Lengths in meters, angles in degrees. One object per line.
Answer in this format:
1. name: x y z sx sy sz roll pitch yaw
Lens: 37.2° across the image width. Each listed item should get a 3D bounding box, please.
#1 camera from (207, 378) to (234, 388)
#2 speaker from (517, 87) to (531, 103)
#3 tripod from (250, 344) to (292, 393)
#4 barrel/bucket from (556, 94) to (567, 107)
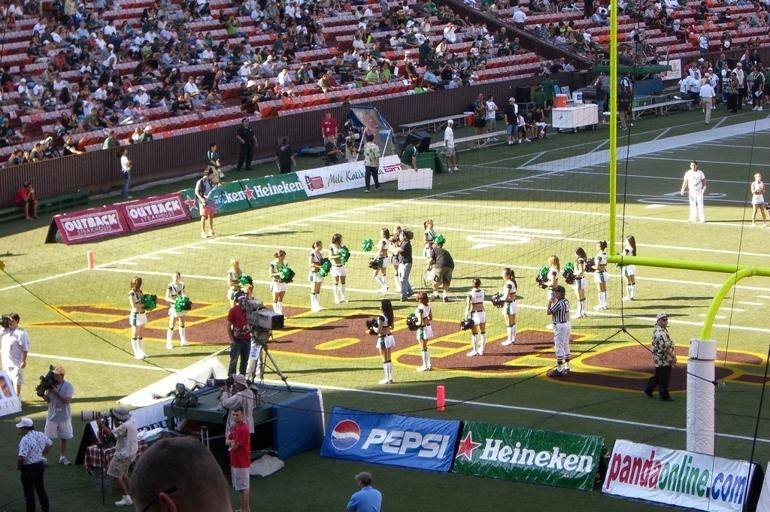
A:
1. camera: -4.070 3.095 28.015 0.619 0.202 0.382 -1 1 16
2. speaker: 6.908 -8.194 58.271 0.772 0.725 0.745 0 1 24
3. tripod: -2.988 2.763 28.890 1.004 1.349 0.812 -4 -12 23
4. barrel/bucket: 8.629 -7.760 57.134 0.653 0.598 0.628 3 5 0
